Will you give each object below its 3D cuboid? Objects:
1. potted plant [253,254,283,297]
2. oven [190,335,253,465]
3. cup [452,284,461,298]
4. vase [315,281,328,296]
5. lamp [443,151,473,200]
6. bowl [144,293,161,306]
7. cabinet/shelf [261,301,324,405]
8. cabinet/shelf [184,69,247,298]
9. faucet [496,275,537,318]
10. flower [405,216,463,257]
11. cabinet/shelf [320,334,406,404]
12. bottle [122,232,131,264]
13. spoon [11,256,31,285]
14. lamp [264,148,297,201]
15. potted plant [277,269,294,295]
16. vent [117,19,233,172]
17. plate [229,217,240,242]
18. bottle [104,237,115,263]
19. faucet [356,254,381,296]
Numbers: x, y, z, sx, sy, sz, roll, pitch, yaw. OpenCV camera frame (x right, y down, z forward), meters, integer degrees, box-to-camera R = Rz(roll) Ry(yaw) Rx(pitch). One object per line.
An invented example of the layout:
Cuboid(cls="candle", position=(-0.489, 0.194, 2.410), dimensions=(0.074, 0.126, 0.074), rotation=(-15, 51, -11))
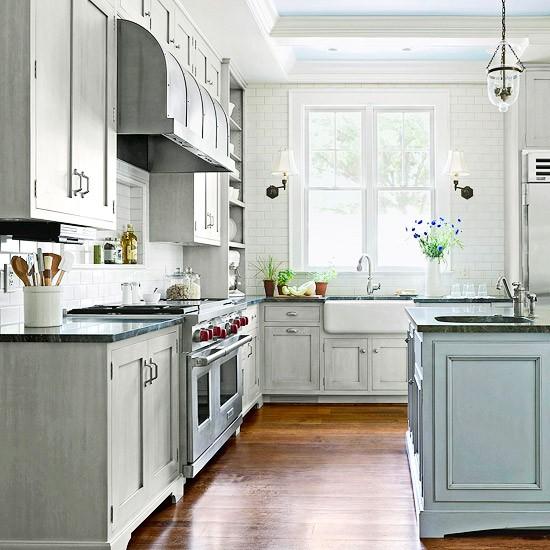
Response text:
Cuboid(cls="potted plant", position=(-0.064, 0.031, 5.604), dimensions=(0.203, 0.326, 0.210), rotation=(-2, -4, 32))
Cuboid(cls="oven", position=(-0.359, 0.710, 3.471), dimensions=(0.450, 0.479, 0.791), rotation=(-1, 1, 6))
Cuboid(cls="cup", position=(1.610, 0.144, 5.363), dimensions=(0.098, 0.173, 0.101), rotation=(1, 0, 0))
Cuboid(cls="vase", position=(0.428, 0.119, 5.501), dimensions=(0.118, 0.094, 0.117), rotation=(-4, -5, 23))
Cuboid(cls="lamp", position=(1.639, -0.886, 5.344), dimensions=(0.224, 0.442, 0.316), rotation=(3, 7, -2))
Cuboid(cls="bowl", position=(-0.751, 0.152, 3.742), dimensions=(0.078, 0.047, 0.075), rotation=(0, 0, 0))
Cuboid(cls="cabinet/shelf", position=(0.150, 0.588, 5.347), dimensions=(0.556, 0.940, 0.494), rotation=(2, 18, 7))
Cuboid(cls="cabinet/shelf", position=(-0.432, -1.057, 5.388), dimensions=(0.207, 1.509, 0.590), rotation=(2, 3, 15))
Cuboid(cls="faucet", position=(1.215, 0.106, 3.036), dimensions=(0.218, 0.199, 0.055), rotation=(4, -1, -7))
Cuboid(cls="flower", position=(1.487, -0.353, 5.541), dimensions=(0.432, 0.338, 0.405), rotation=(-2, 1, -32))
Cuboid(cls="cabinet/shelf", position=(0.760, 0.730, 5.341), dimensions=(0.968, 0.796, 0.493), rotation=(0, -3, 4))
Cuboid(cls="bottle", position=(-0.931, -0.171, 3.767), dimensions=(0.055, 0.194, 0.054), rotation=(-1, 0, 0))
Cuboid(cls="spoon", position=(-1.098, -0.017, 2.596), dimensions=(0.075, 0.135, 0.100), rotation=(-1, 0, -23))
Cuboid(cls="lamp", position=(0.061, -0.921, 5.586), dimensions=(0.293, 0.367, 0.460), rotation=(-1, 0, -2))
Cuboid(cls="potted plant", position=(0.144, 0.081, 5.433), dimensions=(0.186, 0.242, 0.194), rotation=(2, -1, 14))
Cuboid(cls="vent", position=(-0.570, -0.937, 3.433), dimensions=(0.655, 0.650, 1.188), rotation=(-1, 0, -4))
Cuboid(cls="plate", position=(-0.384, -0.424, 5.634), dimensions=(0.176, 0.189, 0.032), rotation=(4, 10, 40))
Cuboid(cls="bottle", position=(-0.962, -0.123, 3.519), dimensions=(0.030, 0.134, 0.101), rotation=(-1, 0, 24))
Cuboid(cls="faucet", position=(0.856, -0.007, 5.597), dimensions=(0.201, 0.298, 0.382), rotation=(-1, 0, 24))
